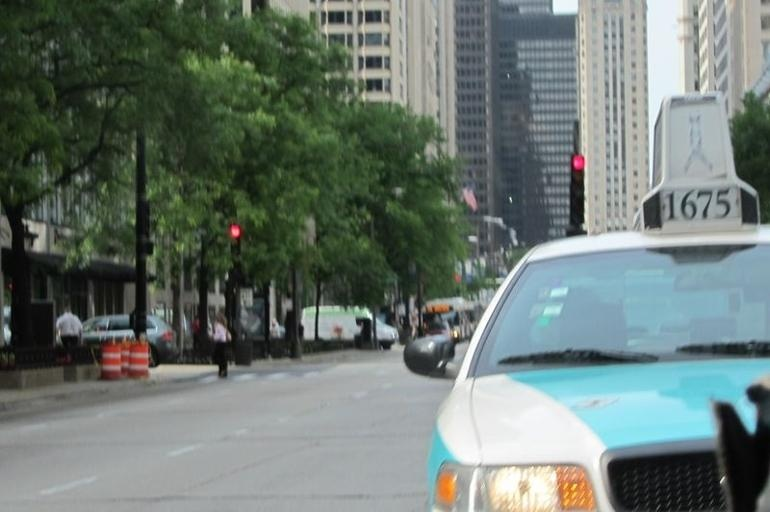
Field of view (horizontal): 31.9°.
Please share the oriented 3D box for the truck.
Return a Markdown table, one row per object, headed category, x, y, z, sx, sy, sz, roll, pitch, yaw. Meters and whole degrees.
| category | x | y | z | sx | sy | sz | roll | pitch | yaw |
| --- | --- | --- | --- | --- | --- | --- | --- | --- | --- |
| truck | -1.929 | 3.759 | 69.201 | 5.026 | 2.969 | 2.181 | 0 | -1 | -2 |
